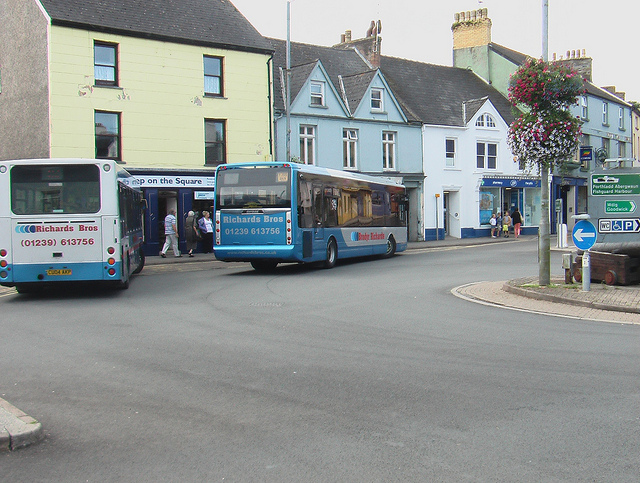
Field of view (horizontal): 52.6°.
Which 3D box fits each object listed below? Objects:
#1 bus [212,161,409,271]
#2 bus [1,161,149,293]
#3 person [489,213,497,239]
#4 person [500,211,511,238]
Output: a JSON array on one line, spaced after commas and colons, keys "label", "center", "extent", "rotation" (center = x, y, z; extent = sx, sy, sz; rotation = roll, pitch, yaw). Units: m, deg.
[{"label": "bus", "center": [0.153, -0.836, 24.080], "extent": [2.812, 3.465, 10.299], "rotation": [0, 1, 26]}, {"label": "bus", "center": [-6.101, -0.353, 16.499], "extent": [2.580, 3.197, 3.741], "rotation": [-1, 2, -6]}, {"label": "person", "center": [11.828, -1.138, 43.929], "extent": [0.500, 1.478, 1.195], "rotation": [-1, 2, 14]}, {"label": "person", "center": [12.407, -1.179, 43.185], "extent": [0.604, 1.584, 2.056], "rotation": [-1, 2, 15]}]
